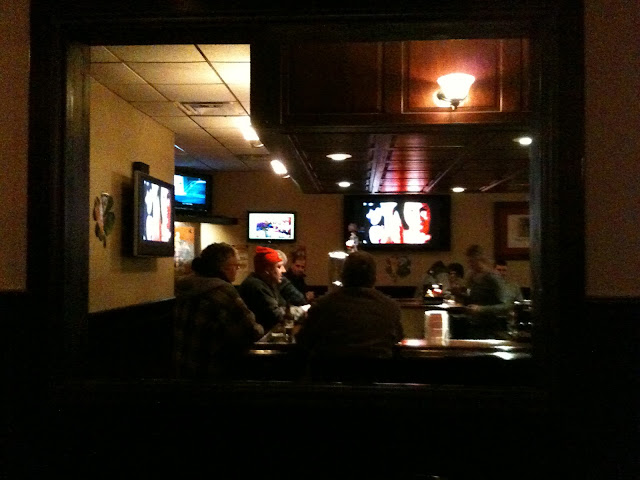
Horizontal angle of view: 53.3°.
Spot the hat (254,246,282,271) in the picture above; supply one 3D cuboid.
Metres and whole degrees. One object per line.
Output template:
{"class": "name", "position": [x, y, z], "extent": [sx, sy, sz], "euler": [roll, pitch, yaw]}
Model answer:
{"class": "hat", "position": [-0.466, 0.150, 5.717], "extent": [0.254, 0.216, 0.180], "euler": [-27, 4, -7]}

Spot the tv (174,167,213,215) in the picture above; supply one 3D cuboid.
{"class": "tv", "position": [-1.802, -0.707, 9.035], "extent": [0.124, 0.554, 0.858], "euler": [-3, -4, 25]}

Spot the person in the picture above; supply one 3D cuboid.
{"class": "person", "position": [0.111, 0.576, 3.921], "extent": [1.808, 0.483, 1.308], "euler": [0, -3, -1]}
